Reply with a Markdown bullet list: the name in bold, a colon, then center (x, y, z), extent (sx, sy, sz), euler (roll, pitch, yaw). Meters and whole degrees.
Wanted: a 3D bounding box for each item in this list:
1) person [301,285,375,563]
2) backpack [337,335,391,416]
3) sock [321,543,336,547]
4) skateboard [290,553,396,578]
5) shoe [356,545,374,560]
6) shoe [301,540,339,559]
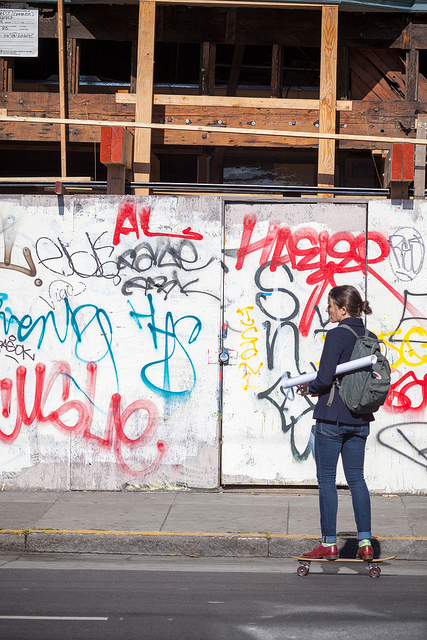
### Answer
- **person**: center (0.937, 0.755, 9.180), extent (0.530, 2.064, 0.399), euler (0, -3, 8)
- **backpack**: center (1.142, 0.404, 9.136), extent (0.324, 0.602, 0.379), euler (23, 12, 23)
- **sock**: center (0.840, 1.643, 9.024), extent (0.096, 0.030, 0.035), euler (-1, -4, 27)
- **skateboard**: center (0.896, 1.804, 9.183), extent (0.908, 0.186, 0.255), euler (-1, -6, 5)
- **shoe**: center (1.108, 1.696, 9.029), extent (0.115, 0.129, 0.227), euler (0, -4, 7)
- **shoe**: center (0.783, 1.695, 9.086), extent (0.258, 0.126, 0.104), euler (-2, -10, 30)
